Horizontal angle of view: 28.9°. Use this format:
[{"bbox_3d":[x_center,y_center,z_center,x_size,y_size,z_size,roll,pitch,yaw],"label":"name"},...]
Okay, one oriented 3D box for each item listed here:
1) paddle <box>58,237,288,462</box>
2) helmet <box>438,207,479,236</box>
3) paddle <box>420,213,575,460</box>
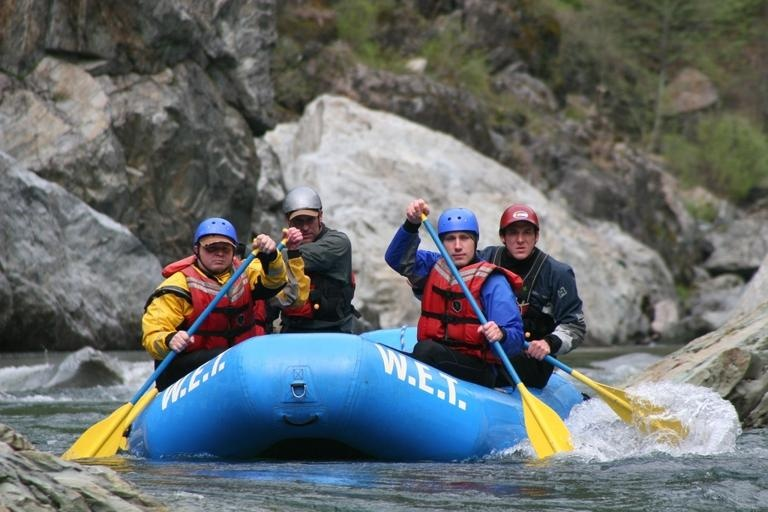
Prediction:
[{"bbox_3d":[-2.845,1.301,20.167,0.515,0.269,3.511,30,72,26],"label":"paddle"},{"bbox_3d":[0.968,-0.458,19.835,0.354,0.465,0.430,-5,75,4],"label":"helmet"},{"bbox_3d":[1.457,1.180,19.760,0.479,0.376,3.605,-31,70,-2],"label":"paddle"}]
